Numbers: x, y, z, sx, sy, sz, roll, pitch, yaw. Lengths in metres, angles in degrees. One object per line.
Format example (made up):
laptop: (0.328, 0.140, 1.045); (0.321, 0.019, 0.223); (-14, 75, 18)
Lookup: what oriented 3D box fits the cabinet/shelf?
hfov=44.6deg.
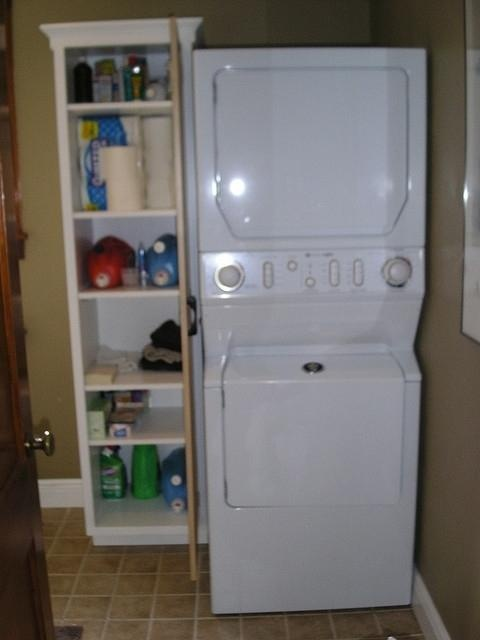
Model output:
cabinet/shelf: (-0.364, -0.045, 2.056); (0.555, 1.800, 0.521); (-1, 9, 5)

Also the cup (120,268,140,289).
cup: (-0.375, -0.139, 2.012); (0.058, 0.074, 0.062); (0, 3, 0)

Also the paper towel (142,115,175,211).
paper towel: (-0.275, -0.522, 1.982); (0.108, 0.352, 0.044); (-1, -14, -6)

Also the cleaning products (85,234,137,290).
cleaning products: (-0.450, -0.195, 2.063); (0.134, 0.206, 0.113); (2, -12, 2)

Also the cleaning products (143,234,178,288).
cleaning products: (-0.263, -0.200, 1.998); (0.116, 0.178, 0.103); (3, 8, 5)

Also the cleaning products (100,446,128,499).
cleaning products: (-0.490, 0.582, 2.273); (0.087, 0.229, 0.065); (-4, 17, -7)

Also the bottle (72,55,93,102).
bottle: (-0.518, -0.778, 1.944); (0.066, 0.130, 0.111); (-4, 10, -15)
